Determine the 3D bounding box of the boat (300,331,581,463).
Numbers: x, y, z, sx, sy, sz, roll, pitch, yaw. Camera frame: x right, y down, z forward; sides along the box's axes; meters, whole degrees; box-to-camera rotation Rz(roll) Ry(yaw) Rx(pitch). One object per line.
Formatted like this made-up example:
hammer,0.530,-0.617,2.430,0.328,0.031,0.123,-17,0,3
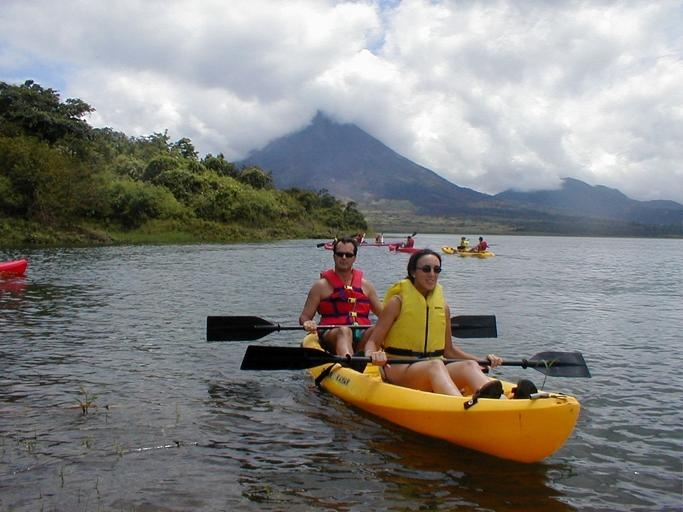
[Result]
boat,1.081,1.827,7.358,1.237,0.721,3.539,3,-2,-33

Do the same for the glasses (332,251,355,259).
glasses,0.046,-0.024,8.930,0.344,0.096,0.129,5,9,16

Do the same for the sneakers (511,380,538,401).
sneakers,2.138,1.567,6.450,0.327,0.278,0.220,6,-3,9

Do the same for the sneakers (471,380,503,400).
sneakers,1.771,1.590,6.585,0.374,0.257,0.250,4,9,4
